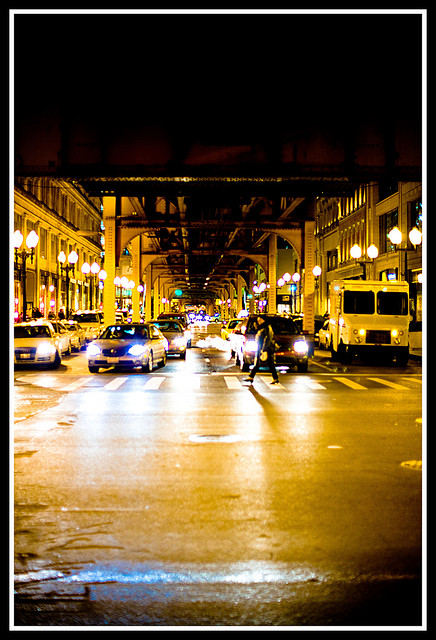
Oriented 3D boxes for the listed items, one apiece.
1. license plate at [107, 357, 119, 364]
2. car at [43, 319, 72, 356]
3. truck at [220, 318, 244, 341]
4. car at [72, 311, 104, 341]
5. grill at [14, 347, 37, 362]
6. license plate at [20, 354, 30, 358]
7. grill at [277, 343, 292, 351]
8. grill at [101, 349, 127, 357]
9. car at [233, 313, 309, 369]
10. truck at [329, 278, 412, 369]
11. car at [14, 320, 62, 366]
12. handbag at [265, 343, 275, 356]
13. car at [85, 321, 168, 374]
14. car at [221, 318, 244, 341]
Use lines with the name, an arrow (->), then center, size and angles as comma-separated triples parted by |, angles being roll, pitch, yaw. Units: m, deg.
license plate -> -3.418, 1.298, 19.583 | 0.245, 0.234, 0.065 | 3, -6, 1
car -> -6.941, 0.725, 26.857 | 1.042, 1.195, 2.863 | 1, -4, -4
truck -> 0.763, 0.510, 33.492 | 1.410, 1.393, 3.571 | 0, -3, -2
car -> -7.701, 0.247, 36.390 | 1.134, 1.470, 2.669 | -1, -6, 1
grill -> -6.738, 1.192, 21.219 | 0.469, 0.427, 0.543 | 1, -3, -7
license plate -> -6.766, 1.259, 21.224 | 0.316, 0.115, 0.094 | 0, 0, -24
grill -> 2.213, 0.887, 20.008 | 0.459, 0.249, 0.094 | 0, 0, -10
grill -> -3.373, 1.080, 19.758 | 0.809, 0.241, 0.207 | 0, 0, -12
car -> 1.813, 0.615, 20.830 | 1.215, 1.395, 3.115 | -1, -4, -3
truck -> 6.121, 0.136, 25.662 | 2.237, 3.780, 5.645 | 2, -1, 3
car -> -6.555, 0.896, 22.023 | 1.537, 1.613, 1.525 | 0, 0, -21
handbag -> 1.458, 0.801, 16.529 | 0.166, 0.346, 0.439 | 0, 0, 22
car -> -3.014, 1.043, 21.382 | 1.243, 1.279, 3.370 | -1, -5, 5
car -> 0.756, 0.524, 32.620 | 1.246, 1.248, 3.195 | 0, -4, -2
